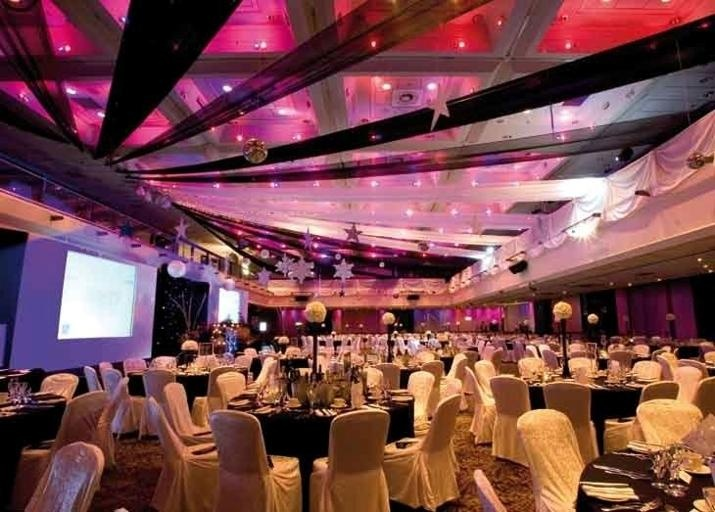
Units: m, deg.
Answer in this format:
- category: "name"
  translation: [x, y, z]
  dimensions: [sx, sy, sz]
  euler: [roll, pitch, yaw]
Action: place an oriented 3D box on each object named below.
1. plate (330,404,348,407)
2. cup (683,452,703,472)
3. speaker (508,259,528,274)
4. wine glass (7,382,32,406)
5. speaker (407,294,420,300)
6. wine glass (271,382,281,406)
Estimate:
- category: "plate"
  translation: [-0.231, 1.820, 5.877]
  dimensions: [0.188, 0.057, 0.143]
  euler: [1, -17, -3]
- category: "cup"
  translation: [2.932, 1.804, 4.202]
  dimensions: [0.147, 0.120, 0.137]
  euler: [-8, -10, -1]
- category: "speaker"
  translation: [5.302, 0.362, 15.917]
  dimensions: [0.477, 0.332, 1.388]
  euler: [-2, -17, 6]
- category: "wine glass"
  translation: [-4.332, 1.735, 6.139]
  dimensions: [0.257, 0.314, 0.268]
  euler: [-3, -5, 13]
- category: "speaker"
  translation: [3.200, 2.353, 27.651]
  dimensions: [0.724, 0.338, 0.245]
  euler: [-2, -15, 6]
- category: "wine glass"
  translation: [-1.048, 1.725, 6.091]
  dimensions: [0.124, 0.283, 0.388]
  euler: [6, -17, -21]
